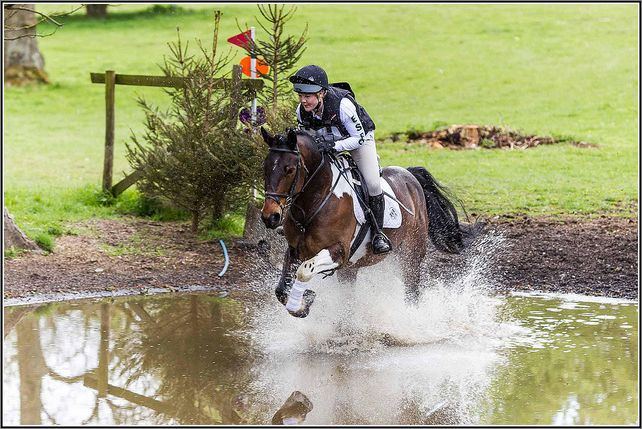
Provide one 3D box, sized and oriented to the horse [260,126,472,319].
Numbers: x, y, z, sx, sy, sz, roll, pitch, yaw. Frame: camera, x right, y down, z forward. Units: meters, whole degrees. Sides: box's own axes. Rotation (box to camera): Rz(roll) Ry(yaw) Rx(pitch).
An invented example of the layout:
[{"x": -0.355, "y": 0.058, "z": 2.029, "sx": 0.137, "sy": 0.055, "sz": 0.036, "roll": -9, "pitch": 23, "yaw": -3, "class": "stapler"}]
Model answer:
[{"x": 1.196, "y": 0.109, "z": 20.525, "sx": 1.832, "sy": 4.167, "sz": 7.416, "roll": 4, "pitch": 8, "yaw": 38, "class": "horse"}]
